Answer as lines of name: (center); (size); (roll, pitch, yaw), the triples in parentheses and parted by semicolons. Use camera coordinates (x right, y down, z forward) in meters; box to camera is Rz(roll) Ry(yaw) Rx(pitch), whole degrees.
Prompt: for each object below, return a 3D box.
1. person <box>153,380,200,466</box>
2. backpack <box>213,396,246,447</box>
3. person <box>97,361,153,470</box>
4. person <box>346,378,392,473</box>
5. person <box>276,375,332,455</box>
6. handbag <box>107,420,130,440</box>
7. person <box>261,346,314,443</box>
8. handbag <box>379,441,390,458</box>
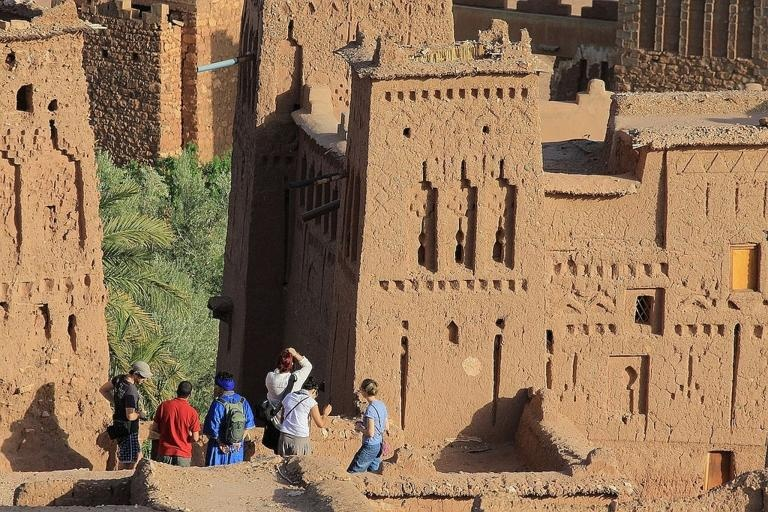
person: (-2.363, 1.930, 19.398); (0.523, 0.988, 0.968); (1, 2, -7)
backpack: (-1.671, 1.896, 19.465); (0.363, 0.482, 0.363); (12, 17, 35)
person: (-3.046, 1.936, 20.408); (0.470, 1.357, 0.931); (0, 2, -32)
person: (-0.184, 1.990, 19.974); (0.446, 1.108, 1.090); (2, 2, -1)
person: (-0.926, 1.863, 19.799); (0.579, 0.861, 0.963); (2, 2, -1)
handbag: (-3.174, 2.100, 20.461); (0.280, 0.272, 0.186); (0, 13, -6)
person: (-1.148, 1.752, 20.158); (0.446, 1.306, 0.597); (-16, 27, -43)
handbag: (0.035, 2.315, 20.142); (0.075, 0.201, 0.159); (6, -2, -9)
